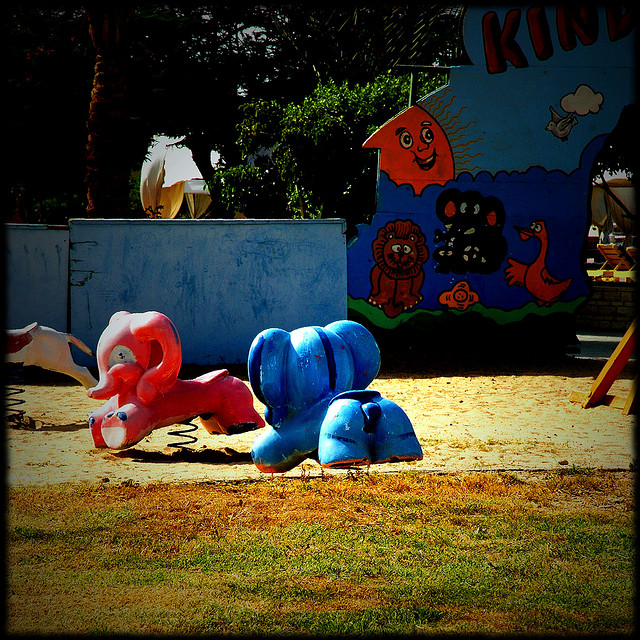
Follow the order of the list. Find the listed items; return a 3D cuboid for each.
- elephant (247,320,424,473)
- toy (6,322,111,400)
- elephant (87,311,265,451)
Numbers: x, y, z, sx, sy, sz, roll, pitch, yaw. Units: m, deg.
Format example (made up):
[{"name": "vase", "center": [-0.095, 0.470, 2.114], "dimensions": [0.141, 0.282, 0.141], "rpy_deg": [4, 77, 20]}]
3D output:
[{"name": "elephant", "center": [0.070, 0.983, 20.194], "dimensions": [1.590, 2.023, 2.000], "rpy_deg": [-2, 4, -33]}, {"name": "toy", "center": [-3.821, 0.450, 22.247], "dimensions": [1.131, 1.314, 1.137], "rpy_deg": [16, 16, 30]}, {"name": "elephant", "center": [-1.964, 0.688, 21.508], "dimensions": [2.189, 2.149, 1.528], "rpy_deg": [-7, 7, -22]}]
